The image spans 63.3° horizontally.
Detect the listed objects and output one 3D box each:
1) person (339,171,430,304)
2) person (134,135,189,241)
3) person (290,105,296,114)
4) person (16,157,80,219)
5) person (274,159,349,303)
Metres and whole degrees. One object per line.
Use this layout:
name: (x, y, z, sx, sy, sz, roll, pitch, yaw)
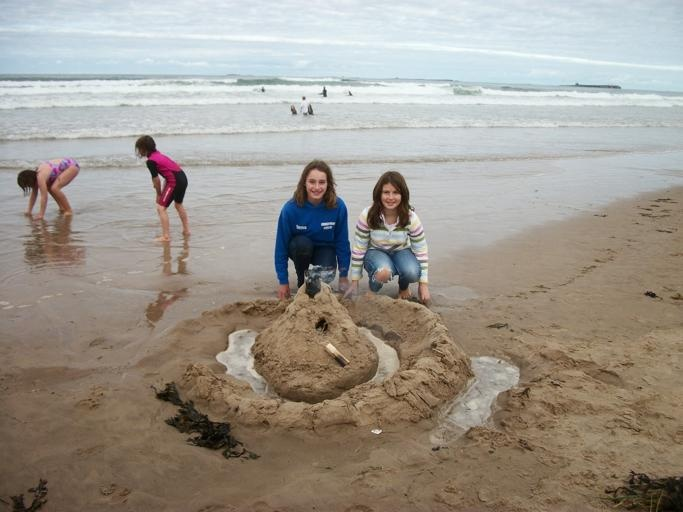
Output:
person: (0.529, -0.178, 5.653, 0.853, 1.381, 0.469, 2, 25, 1)
person: (-2.430, -0.973, 7.666, 0.607, 1.323, 1.055, -6, 24, -17)
person: (-1.980, -6.182, 23.392, 0.348, 0.296, 0.773, 3, 20, -7)
person: (-4.452, -1.090, 8.774, 1.100, 0.759, 0.573, -6, 17, -10)
person: (-0.268, -0.267, 5.715, 0.819, 1.467, 0.511, -1, 25, -7)
